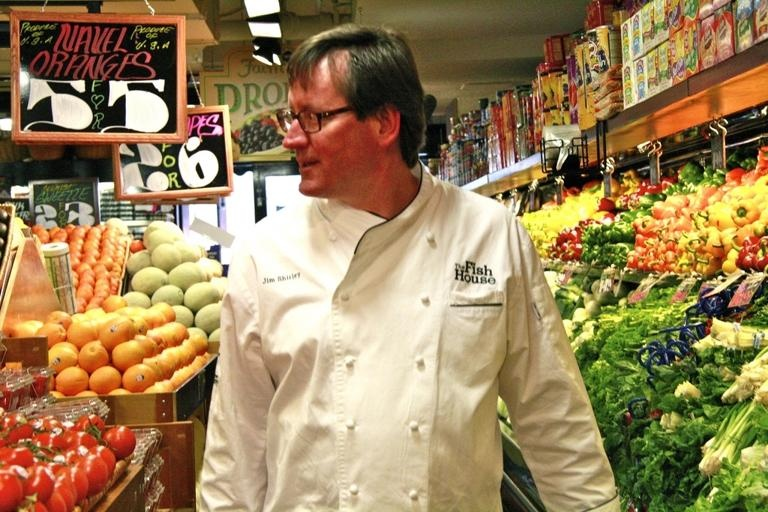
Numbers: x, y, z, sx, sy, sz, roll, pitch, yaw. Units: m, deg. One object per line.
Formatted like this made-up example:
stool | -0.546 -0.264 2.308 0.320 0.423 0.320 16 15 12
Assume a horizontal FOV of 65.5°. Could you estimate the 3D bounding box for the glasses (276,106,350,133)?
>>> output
glasses | -0.250 -0.450 1.952 0.156 0.055 0.166 0 5 37
